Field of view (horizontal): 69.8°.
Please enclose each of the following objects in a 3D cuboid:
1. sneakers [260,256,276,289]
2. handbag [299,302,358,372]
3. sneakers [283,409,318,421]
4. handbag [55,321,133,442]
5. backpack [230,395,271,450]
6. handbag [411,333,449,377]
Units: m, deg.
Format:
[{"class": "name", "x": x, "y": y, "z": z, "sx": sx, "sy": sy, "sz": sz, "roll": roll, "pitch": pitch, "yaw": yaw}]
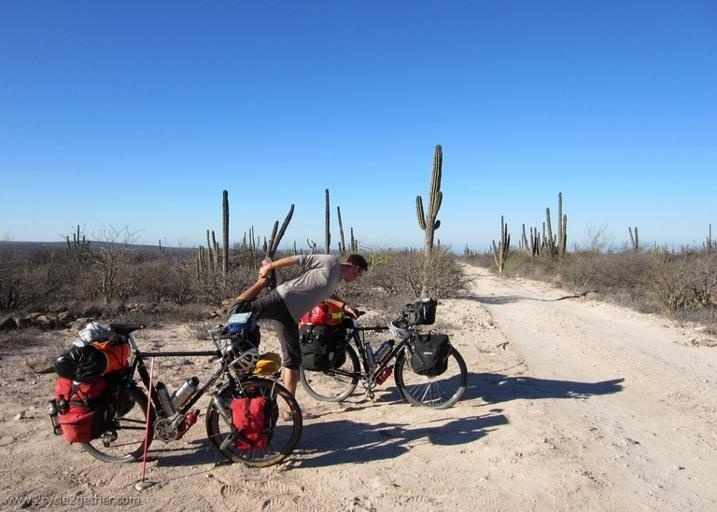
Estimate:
[{"class": "sneakers", "x": -1.268, "y": 0.253, "z": 7.229, "sx": 0.267, "sy": 0.670, "sz": 0.129, "roll": -3, "pitch": -29, "yaw": -5}, {"class": "handbag", "x": -0.403, "y": 1.076, "z": 7.103, "sx": 0.797, "sy": 1.190, "sz": 0.819, "roll": 0, "pitch": 1, "yaw": -33}, {"class": "sneakers", "x": -0.775, "y": 2.112, "z": 6.790, "sx": 0.511, "sy": 0.194, "sz": 0.293, "roll": 6, "pitch": -13, "yaw": -17}, {"class": "handbag", "x": -2.937, "y": 1.403, "z": 5.625, "sx": 0.830, "sy": 1.325, "sz": 0.382, "roll": -5, "pitch": 10, "yaw": -25}, {"class": "backpack", "x": -1.178, "y": 1.806, "z": 5.587, "sx": 0.524, "sy": 0.736, "sz": 0.363, "roll": 0, "pitch": 2, "yaw": -6}, {"class": "handbag", "x": 0.956, "y": 1.346, "z": 6.830, "sx": 0.530, "sy": 0.608, "sz": 0.285, "roll": 1, "pitch": 9, "yaw": 7}]
